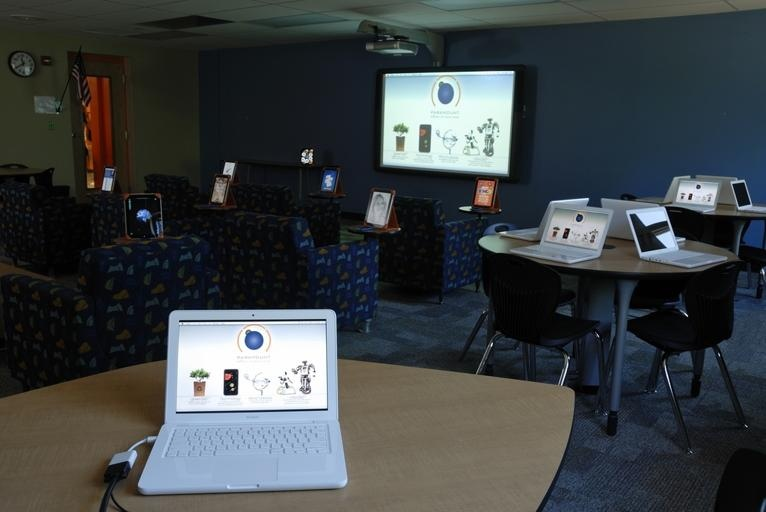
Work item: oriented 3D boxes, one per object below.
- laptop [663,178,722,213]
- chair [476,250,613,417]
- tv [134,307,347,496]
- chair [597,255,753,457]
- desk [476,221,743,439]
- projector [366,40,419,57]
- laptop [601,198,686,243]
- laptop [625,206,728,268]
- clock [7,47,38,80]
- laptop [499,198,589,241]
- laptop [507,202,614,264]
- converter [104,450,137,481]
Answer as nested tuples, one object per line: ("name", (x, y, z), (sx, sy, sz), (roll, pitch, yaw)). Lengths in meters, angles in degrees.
("laptop", (3.411, -0.682, 6.184), (0.554, 0.454, 0.335), (18, 9, 39))
("chair", (1.034, 0.508, 3.709), (0.753, 1.100, 0.706), (-10, 15, -36))
("tv", (-0.425, 0.429, 1.779), (0.656, 0.364, 0.600), (-2, 13, -21))
("chair", (1.911, 0.546, 3.511), (0.584, 1.101, 0.627), (-12, 19, -38))
("desk", (1.529, 0.256, 3.837), (1.380, 0.982, 1.372), (-6, 12, -37))
("projector", (0.035, -2.883, 7.796), (0.502, 0.149, 0.511), (7, 12, 33))
("laptop", (1.767, -0.285, 4.071), (0.411, 0.291, 0.475), (-3, 7, -29))
("laptop", (1.875, -0.128, 3.622), (0.515, 0.304, 0.550), (-3, 12, -16))
("clock", (-6.293, -3.356, 9.848), (0.091, 0.463, 0.439), (10, 18, 34))
("laptop", (1.183, -0.240, 4.147), (0.426, 0.292, 0.478), (10, 15, 41))
("laptop", (1.180, -0.164, 3.733), (0.605, 0.313, 0.554), (8, 15, 34))
("converter", (-0.798, 0.634, 1.714), (0.075, 0.057, 0.130), (-2, 15, -9))
